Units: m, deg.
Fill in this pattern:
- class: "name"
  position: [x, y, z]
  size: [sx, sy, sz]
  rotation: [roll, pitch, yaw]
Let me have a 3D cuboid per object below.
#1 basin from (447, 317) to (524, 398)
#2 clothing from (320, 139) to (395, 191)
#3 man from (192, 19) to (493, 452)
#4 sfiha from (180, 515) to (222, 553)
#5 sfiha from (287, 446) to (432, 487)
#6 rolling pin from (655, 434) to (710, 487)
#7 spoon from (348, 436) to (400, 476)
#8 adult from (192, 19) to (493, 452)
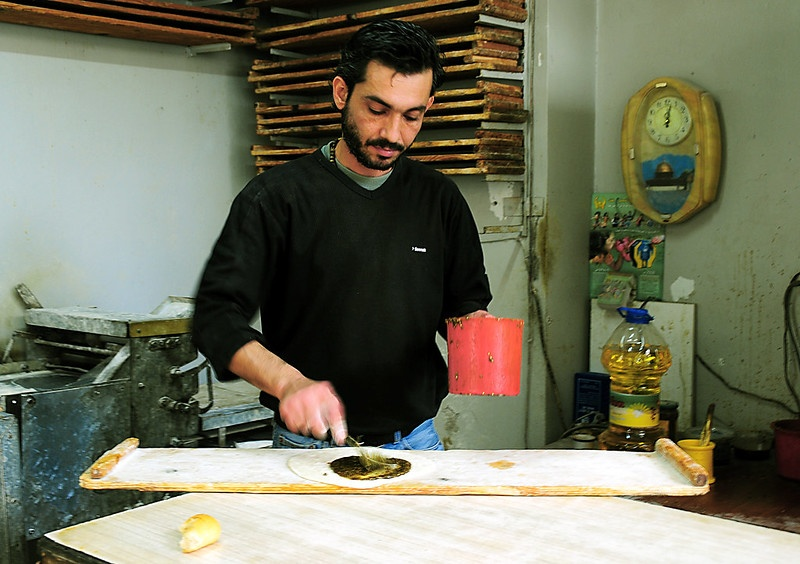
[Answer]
- class: "basin"
  position: [0.175, 0.217, 2.032]
  size: [0.315, 0.199, 0.242]
  rotation: [0, -9, 0]
- class: "clothing"
  position: [-0.149, -0.349, 2.275]
  size: [0.213, 0.063, 0.156]
  rotation: [23, 22, -4]
- class: "man"
  position: [-0.120, -0.099, 2.187]
  size: [0.863, 1.348, 0.510]
  rotation: [-6, 6, -40]
- class: "sfiha"
  position: [-0.466, 0.571, 1.682]
  size: [0.100, 0.050, 0.106]
  rotation: [-8, 22, -6]
- class: "sfiha"
  position: [-0.103, 0.495, 1.947]
  size: [0.408, 0.043, 0.263]
  rotation: [0, 4, 11]
- class: "rolling pin"
  position: [0.750, 0.468, 1.908]
  size: [0.056, 0.036, 0.183]
  rotation: [-14, 19, -8]
- class: "spoon"
  position: [-0.065, 0.469, 1.961]
  size: [0.065, 0.023, 0.162]
  rotation: [4, 10, -32]
- class: "adult"
  position: [-0.120, -0.099, 2.187]
  size: [0.863, 1.348, 0.510]
  rotation: [-6, 6, -40]
